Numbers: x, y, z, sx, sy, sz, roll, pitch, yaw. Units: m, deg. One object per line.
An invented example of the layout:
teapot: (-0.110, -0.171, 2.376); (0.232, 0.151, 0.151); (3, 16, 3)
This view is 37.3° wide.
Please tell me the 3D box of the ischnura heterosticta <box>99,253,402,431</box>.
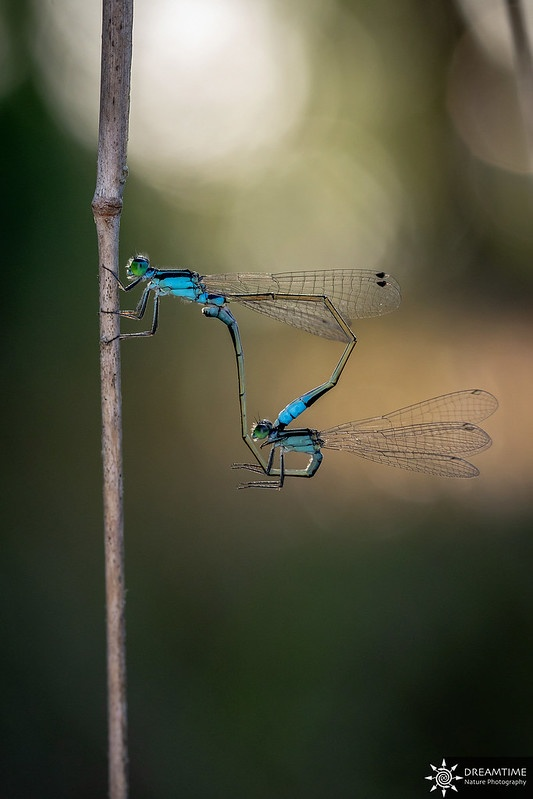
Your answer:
ischnura heterosticta: (-0.014, -0.115, 1.557); (0.564, 0.187, 0.270); (9, 8, -4)

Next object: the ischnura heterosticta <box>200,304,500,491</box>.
ischnura heterosticta: (0.135, 0.000, 1.646); (0.688, 0.392, 0.124); (2, 3, 32)
